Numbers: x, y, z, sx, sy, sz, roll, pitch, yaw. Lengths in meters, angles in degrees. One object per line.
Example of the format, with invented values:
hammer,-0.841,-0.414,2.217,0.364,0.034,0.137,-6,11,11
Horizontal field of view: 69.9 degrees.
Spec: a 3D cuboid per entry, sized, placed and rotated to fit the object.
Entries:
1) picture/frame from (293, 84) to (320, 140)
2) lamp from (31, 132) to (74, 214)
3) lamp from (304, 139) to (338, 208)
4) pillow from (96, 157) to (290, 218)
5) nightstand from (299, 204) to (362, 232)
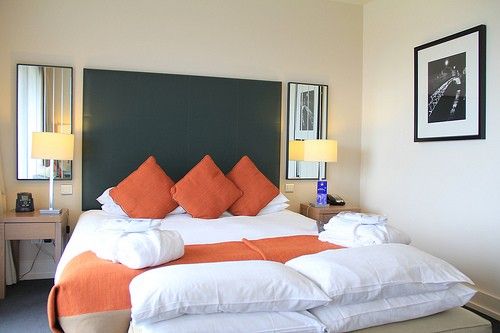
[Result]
picture/frame,0.834,-0.802,5.253,0.372,0.788,0.043,-1,4,-18
lamp,-2.368,0.063,4.327,0.422,0.954,0.420,-1,4,-14
lamp,0.966,0.086,5.020,0.429,0.907,0.338,0,4,-1
pillow,-0.704,0.242,4.523,2.172,0.759,0.614,-1,3,-22
nightstand,1.072,0.651,4.999,0.422,0.451,0.434,-1,2,-13
